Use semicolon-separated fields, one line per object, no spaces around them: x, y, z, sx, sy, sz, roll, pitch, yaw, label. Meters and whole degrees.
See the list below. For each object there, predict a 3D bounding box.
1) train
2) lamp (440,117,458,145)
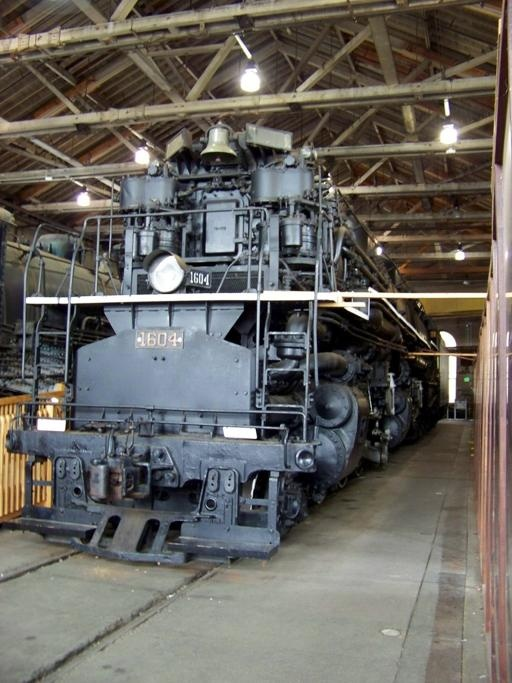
-0.405;-0.128;8.459;4.427;4.570;5.735;0;-4;15;train
3.915;-4.267;13.167;0.272;0.673;0.901;0;-4;19;lamp
